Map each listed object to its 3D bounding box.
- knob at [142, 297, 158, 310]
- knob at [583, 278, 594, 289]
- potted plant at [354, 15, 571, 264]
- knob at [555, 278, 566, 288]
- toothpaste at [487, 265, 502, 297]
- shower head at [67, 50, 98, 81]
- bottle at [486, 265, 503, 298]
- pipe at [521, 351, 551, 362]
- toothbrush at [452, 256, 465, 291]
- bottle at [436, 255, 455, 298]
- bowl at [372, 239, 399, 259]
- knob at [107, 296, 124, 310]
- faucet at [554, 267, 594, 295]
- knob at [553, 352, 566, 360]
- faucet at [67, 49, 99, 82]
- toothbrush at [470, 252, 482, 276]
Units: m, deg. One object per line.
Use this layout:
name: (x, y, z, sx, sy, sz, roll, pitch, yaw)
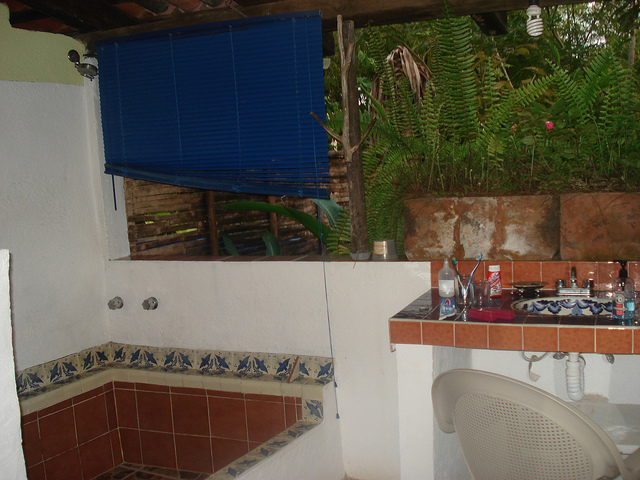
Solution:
knob: (-1.069, 0.393, 3.522, 0.107, 0.076, 0.071, -3, 1, 20)
knob: (1.254, 0.202, 2.668, 0.046, 0.038, 0.064, -3, 1, 25)
potted plant: (0.720, -0.537, 2.981, 1.040, 1.098, 0.415, -3, 1, 12)
knob: (1.133, 0.204, 2.690, 0.048, 0.048, 0.033, 1, -3, 20)
toothpaste: (0.825, 0.191, 2.715, 0.081, 0.151, 0.081, -1, 1, 22)
shower head: (-1.453, -1.071, 3.461, 0.158, 0.181, 0.098, -3, 1, -22)
bottle: (0.823, 0.185, 2.722, 0.092, 0.159, 0.090, -2, 12, 0)
pipe: (0.976, 0.534, 2.608, 0.103, 0.023, 0.096, 0, -3, -21)
toothbrush: (0.657, 0.164, 2.727, 0.021, 0.140, 0.080, -22, 6, 0)
bottle: (0.615, 0.176, 2.823, 0.085, 0.176, 0.192, -3, 1, 11)
bowl: (0.333, 0.047, 3.053, 0.103, 0.074, 0.116, -3, -1, 12)
knob: (-1.312, 0.400, 3.631, 0.094, 0.087, 0.051, -3, 1, -21)
faucet: (1.183, 0.161, 2.663, 0.212, 0.150, 0.118, 0, -3, 15)
knob: (1.070, 0.516, 2.547, 0.058, 0.019, 0.058, -3, 5, -2)
faucet: (-1.448, -1.042, 3.418, 0.088, 0.156, 0.103, -34, -22, -23)
toothbrush: (0.761, 0.119, 2.792, 0.022, 0.123, 0.032, 27, -25, 15)
